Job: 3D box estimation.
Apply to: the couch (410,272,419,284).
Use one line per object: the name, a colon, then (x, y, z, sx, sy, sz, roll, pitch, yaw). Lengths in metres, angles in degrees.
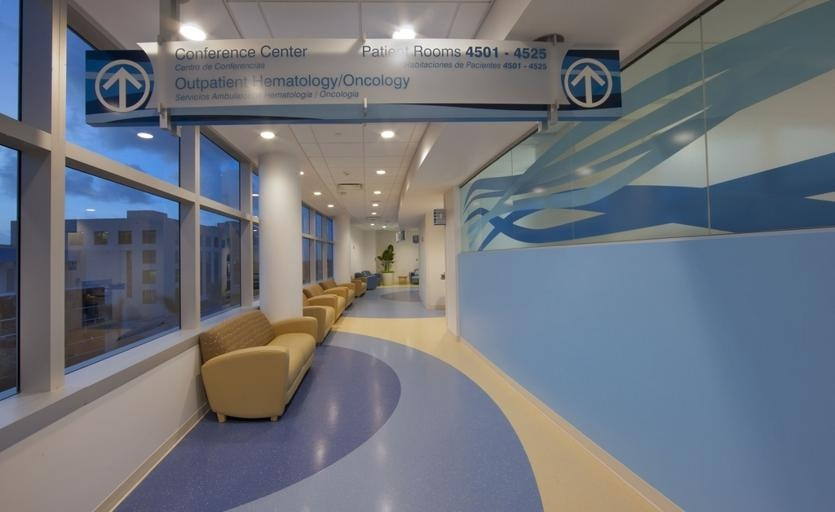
couch: (-0.115, 0.892, 20.125, 0.294, 0.585, 1.014, -1, -3, -7)

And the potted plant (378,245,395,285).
potted plant: (-1.239, 0.321, 20.519, 0.563, 1.772, 1.669, -1, -3, -4)
